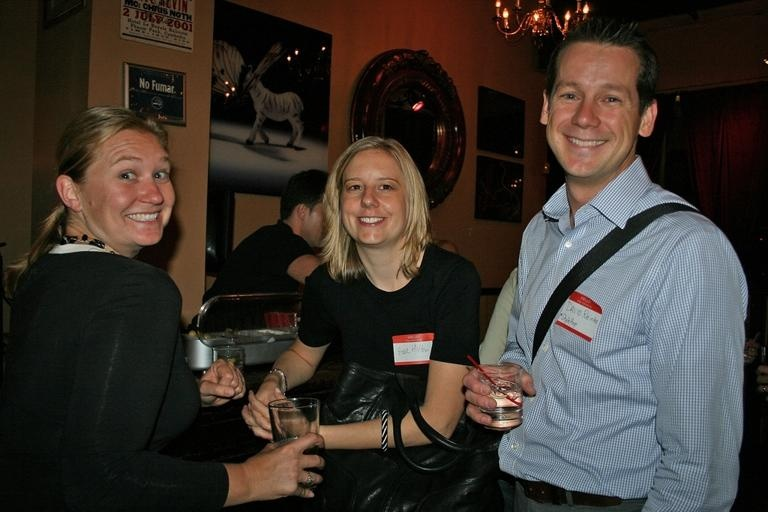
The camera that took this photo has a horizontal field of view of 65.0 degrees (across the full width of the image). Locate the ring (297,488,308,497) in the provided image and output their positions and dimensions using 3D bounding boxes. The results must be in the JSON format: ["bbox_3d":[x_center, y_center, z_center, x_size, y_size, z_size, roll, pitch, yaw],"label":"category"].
[{"bbox_3d":[-0.258,0.750,1.906,0.027,0.010,0.036,13,-35,-17],"label":"ring"}]

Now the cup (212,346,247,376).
[{"bbox_3d":[-0.699,0.459,2.729,0.149,0.142,0.146,0,3,0],"label":"cup"}]

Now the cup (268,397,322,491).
[{"bbox_3d":[-0.301,0.579,1.973,0.169,0.192,0.176,-4,-8,-1],"label":"cup"}]

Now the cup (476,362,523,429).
[{"bbox_3d":[0.345,0.476,1.943,0.130,0.163,0.168,-3,-6,1],"label":"cup"}]

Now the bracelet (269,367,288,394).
[{"bbox_3d":[-0.423,0.510,2.475,0.039,0.099,0.084,-15,7,-14],"label":"bracelet"}]

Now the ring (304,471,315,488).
[{"bbox_3d":[-0.238,0.719,1.928,0.022,0.050,0.037,7,6,-20],"label":"ring"}]

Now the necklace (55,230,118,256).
[{"bbox_3d":[-0.956,-0.043,1.926,0.108,0.050,0.120,0,-2,-1],"label":"necklace"}]
